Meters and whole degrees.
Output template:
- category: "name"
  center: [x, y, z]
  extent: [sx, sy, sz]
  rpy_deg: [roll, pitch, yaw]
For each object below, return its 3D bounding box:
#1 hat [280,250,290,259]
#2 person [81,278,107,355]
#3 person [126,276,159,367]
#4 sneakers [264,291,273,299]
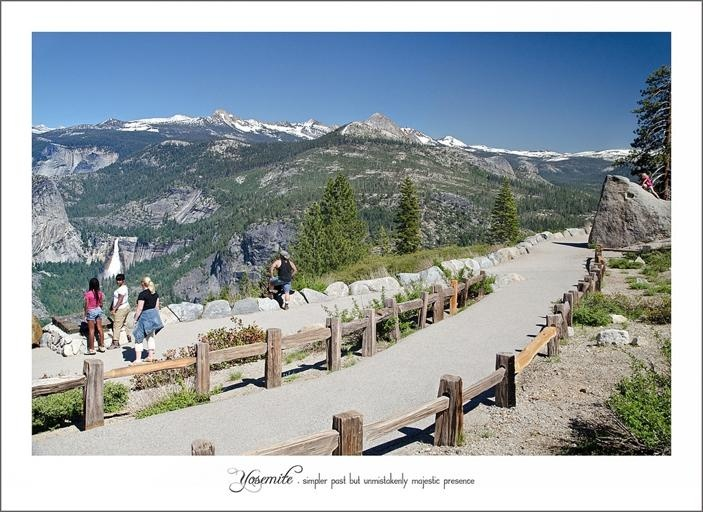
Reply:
- category: "hat"
  center: [-2.969, -0.040, 24.547]
  extent: [0.550, 0.213, 0.558]
  rpy_deg: [20, 7, 29]
- category: "person"
  center: [-8.027, 1.800, 17.262]
  extent: [0.604, 1.692, 1.397]
  rpy_deg: [-6, 5, -26]
- category: "person"
  center: [-5.657, 1.739, 15.261]
  extent: [0.811, 2.293, 0.776]
  rpy_deg: [6, 6, 38]
- category: "sneakers"
  center: [-3.383, 1.606, 22.539]
  extent: [0.180, 0.256, 0.512]
  rpy_deg: [-8, 7, -41]
